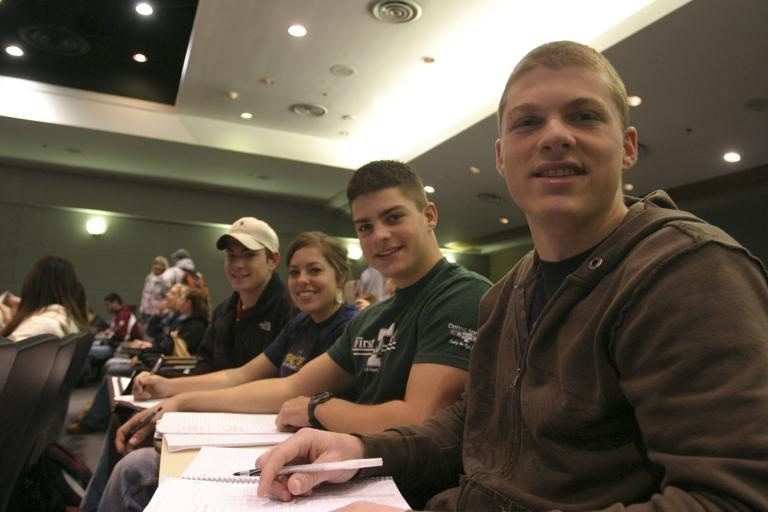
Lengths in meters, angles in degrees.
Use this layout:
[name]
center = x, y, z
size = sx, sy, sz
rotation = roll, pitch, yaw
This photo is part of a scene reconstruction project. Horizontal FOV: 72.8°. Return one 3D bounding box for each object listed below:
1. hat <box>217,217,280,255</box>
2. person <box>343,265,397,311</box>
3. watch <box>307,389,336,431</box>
[hat]
center = -0.850, -0.133, 3.473
size = 0.241, 0.180, 0.359
rotation = 2, -18, 25
[person]
center = -0.198, 0.523, 9.291
size = 0.833, 0.638, 1.145
rotation = -11, 31, 16
[watch]
center = -0.232, 0.530, 1.824
size = 0.114, 0.110, 0.080
rotation = -10, 8, -36
